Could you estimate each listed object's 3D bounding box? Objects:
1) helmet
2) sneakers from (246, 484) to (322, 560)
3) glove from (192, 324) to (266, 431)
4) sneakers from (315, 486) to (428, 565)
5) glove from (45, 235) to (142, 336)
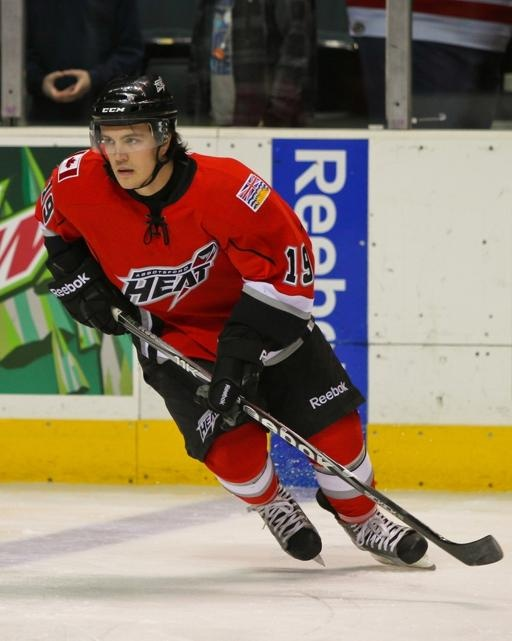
[{"bbox_3d":[-0.261,-0.467,1.924,0.170,0.167,0.202,1,16,29],"label":"helmet"},{"bbox_3d":[0.032,0.496,2.150,0.080,0.112,0.259,-43,37,-1],"label":"sneakers"},{"bbox_3d":[-0.055,0.127,1.912,0.139,0.210,0.088,29,-32,-12],"label":"glove"},{"bbox_3d":[0.255,0.522,2.121,0.163,0.092,0.242,40,-9,-32],"label":"sneakers"},{"bbox_3d":[-0.419,-0.090,2.234,0.166,0.303,0.098,-40,9,33],"label":"glove"}]
